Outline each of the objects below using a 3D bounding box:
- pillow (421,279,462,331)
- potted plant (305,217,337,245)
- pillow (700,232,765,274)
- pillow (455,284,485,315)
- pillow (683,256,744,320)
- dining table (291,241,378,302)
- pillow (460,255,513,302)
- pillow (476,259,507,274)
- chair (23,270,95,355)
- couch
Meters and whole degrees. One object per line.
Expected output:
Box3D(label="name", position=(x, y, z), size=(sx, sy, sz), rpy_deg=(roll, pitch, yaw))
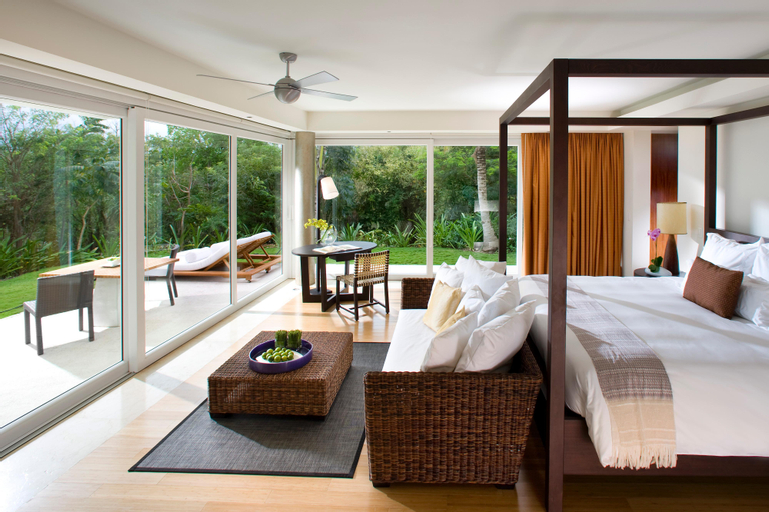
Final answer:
Box3D(label="pillow", position=(0.518, 0.456, 4.530), size=(0.151, 0.335, 0.437), rpy_deg=(10, 4, -14))
Box3D(label="potted plant", position=(-1.032, -0.381, 7.902), size=(0.463, 0.584, 0.405), rpy_deg=(-3, -9, 1))
Box3D(label="pillow", position=(3.359, -0.024, 4.868), size=(0.190, 0.451, 0.618), rpy_deg=(27, 4, -6))
Box3D(label="pillow", position=(0.730, 0.361, 4.212), size=(0.069, 0.217, 0.200), rpy_deg=(31, -19, -13))
Box3D(label="pillow", position=(2.839, 0.296, 4.325), size=(0.182, 0.331, 0.514), rpy_deg=(29, 0, -7))
Box3D(label="dining table", position=(-0.715, 0.108, 7.220), size=(0.831, 0.983, 1.552), rpy_deg=(9, 11, 44))
Box3D(label="pillow", position=(0.877, 0.220, 4.650), size=(0.403, 0.116, 0.385), rpy_deg=(-35, 36, -29))
Box3D(label="pillow", position=(1.084, 0.099, 5.040), size=(0.252, 0.092, 0.241), rpy_deg=(2, -5, -8))
Box3D(label="chair", position=(-2.941, 0.474, 4.523), size=(0.385, 0.627, 0.503), rpy_deg=(8, 11, 32))
Box3D(label="couch", position=(0.483, 0.777, 3.632), size=(0.813, 0.523, 1.799), rpy_deg=(0, 1, 9))
